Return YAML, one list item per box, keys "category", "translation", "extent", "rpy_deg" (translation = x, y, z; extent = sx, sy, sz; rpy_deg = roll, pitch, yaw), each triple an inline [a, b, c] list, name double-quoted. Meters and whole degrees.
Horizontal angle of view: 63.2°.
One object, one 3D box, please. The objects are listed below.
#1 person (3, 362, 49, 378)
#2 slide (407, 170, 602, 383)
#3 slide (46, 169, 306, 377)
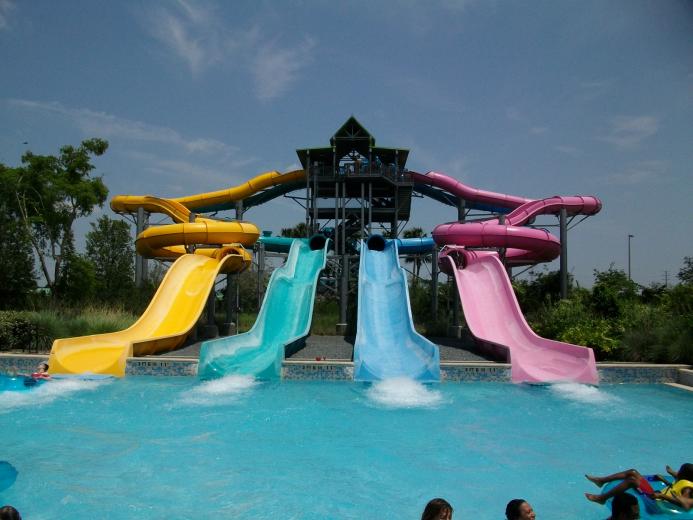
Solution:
- category: "person"
  translation: [-6.837, 2.430, 12.280]
  extent: [0.809, 0.305, 0.590]
  rpy_deg: [4, -4, 5]
- category: "slide"
  translation: [5.195, 0.215, 17.540]
  extent: [5.305, 4.084, 10.318]
  rpy_deg: [0, -3, 3]
- category: "slide"
  translation: [-5.364, -0.396, 17.653]
  extent: [5.769, 4.373, 10.289]
  rpy_deg: [0, 1, 12]
